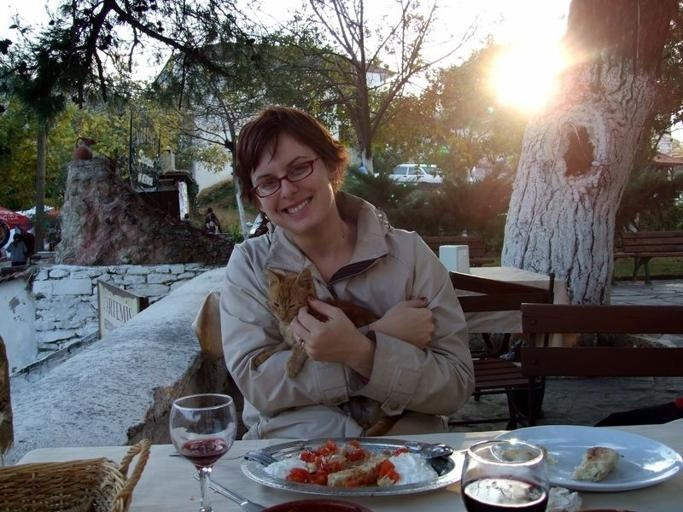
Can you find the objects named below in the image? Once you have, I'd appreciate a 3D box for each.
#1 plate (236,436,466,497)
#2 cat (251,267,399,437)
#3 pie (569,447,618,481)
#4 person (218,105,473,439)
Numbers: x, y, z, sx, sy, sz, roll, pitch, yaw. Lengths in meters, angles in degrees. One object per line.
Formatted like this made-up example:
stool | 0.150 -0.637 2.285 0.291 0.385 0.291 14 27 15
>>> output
plate | 0.015 0.581 1.354 0.665 0.080 0.704 -4 -15 18
cat | -0.069 0.368 1.945 0.556 0.636 0.245 3 2 -8
pie | 0.704 0.565 1.338 0.185 0.061 0.066 1 3 -42
person | -0.045 0.218 2.194 0.872 1.589 0.892 5 7 -16
